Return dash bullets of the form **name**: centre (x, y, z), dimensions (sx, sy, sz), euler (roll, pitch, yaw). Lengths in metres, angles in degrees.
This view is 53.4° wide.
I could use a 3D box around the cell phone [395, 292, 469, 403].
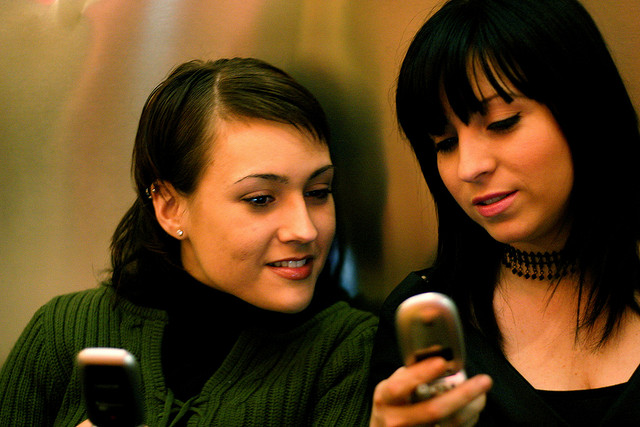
- **cell phone**: centre (0.260, 0.313, 1.481), dimensions (0.150, 0.269, 0.104), euler (-3, 2, 11)
